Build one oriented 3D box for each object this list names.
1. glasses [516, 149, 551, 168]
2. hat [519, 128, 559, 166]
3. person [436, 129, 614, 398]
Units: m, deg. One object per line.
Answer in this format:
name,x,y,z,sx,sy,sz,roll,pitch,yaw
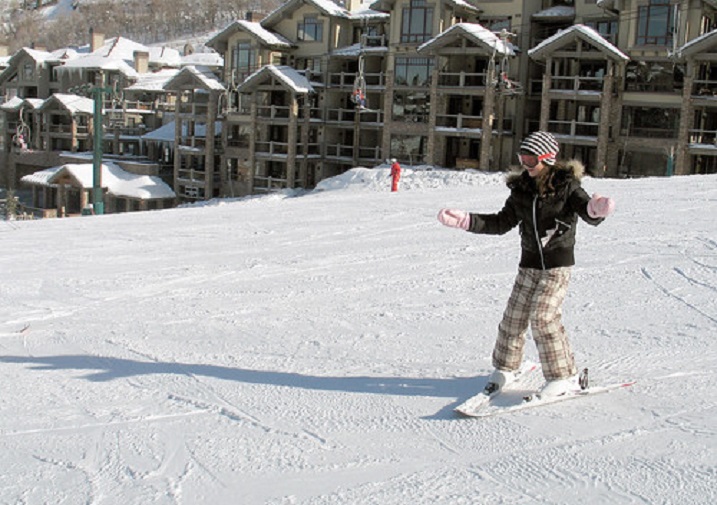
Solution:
glasses,1.438,-0.797,6.030,0.211,0.066,0.163,-8,16,-18
hat,1.510,-0.889,6.111,0.310,0.270,0.323,4,16,22
person,1.489,0.111,6.181,1.269,2.256,0.678,4,17,19
